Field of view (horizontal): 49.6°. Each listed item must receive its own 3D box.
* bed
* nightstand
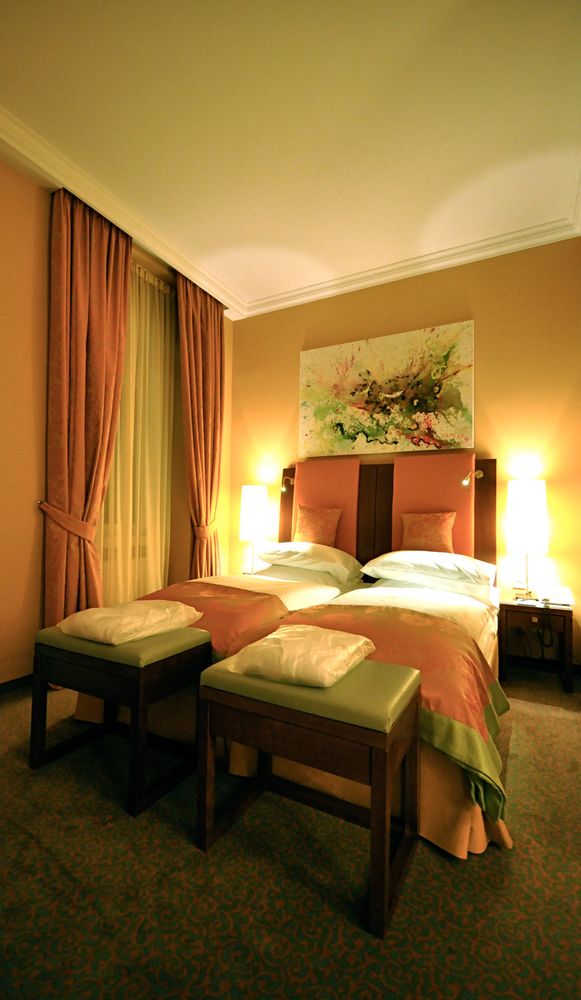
[{"bbox_3d":[0.415,0.321,2.633,1.126,1.167,1.460,-1,-5,26],"label":"bed"},{"bbox_3d":[1.345,0.754,3.325,0.378,0.522,0.367,-3,-11,26],"label":"nightstand"}]
